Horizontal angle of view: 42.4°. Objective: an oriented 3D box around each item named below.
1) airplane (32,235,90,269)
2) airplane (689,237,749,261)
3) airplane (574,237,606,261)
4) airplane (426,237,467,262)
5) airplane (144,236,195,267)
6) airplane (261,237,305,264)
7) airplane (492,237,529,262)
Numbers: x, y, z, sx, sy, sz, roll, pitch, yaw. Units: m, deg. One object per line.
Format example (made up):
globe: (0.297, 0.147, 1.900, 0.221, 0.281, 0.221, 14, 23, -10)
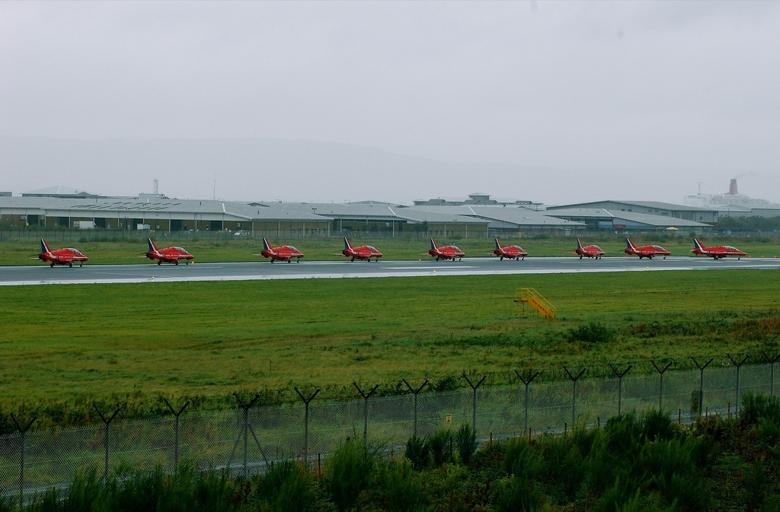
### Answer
airplane: (-30.174, -0.039, 92.033, 3.506, 1.741, 3.706, -1, 6, -11)
airplane: (38.602, -0.511, 117.664, 5.014, 1.672, 4.613, 3, 4, 8)
airplane: (23.278, -0.586, 115.273, 3.615, 1.739, 3.282, 3, 6, -13)
airplane: (6.093, -0.409, 108.821, 3.166, 1.752, 3.311, -1, 2, -4)
airplane: (-21.236, -0.101, 96.593, 3.520, 1.659, 3.731, -1, 9, -13)
airplane: (-10.996, -0.294, 101.870, 3.734, 1.688, 3.743, 0, 8, -19)
airplane: (14.646, -0.819, 121.814, 3.399, 1.669, 3.781, 1, 4, -15)
